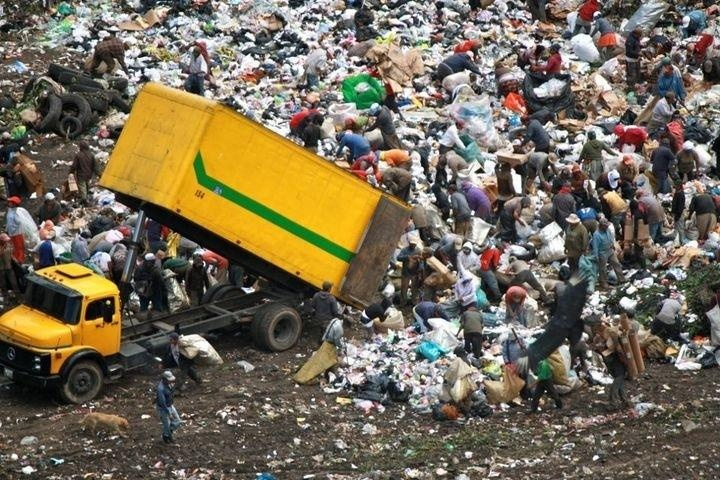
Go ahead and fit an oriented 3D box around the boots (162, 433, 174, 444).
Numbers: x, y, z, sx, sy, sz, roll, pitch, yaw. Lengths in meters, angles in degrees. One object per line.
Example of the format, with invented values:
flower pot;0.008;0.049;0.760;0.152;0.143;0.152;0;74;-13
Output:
boots;-3.638;3.739;17.517;0.226;0.211;0.107;2;27;-1

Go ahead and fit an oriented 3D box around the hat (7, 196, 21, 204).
hat;-8.432;-0.969;22.460;0.306;0.147;0.204;17;8;16

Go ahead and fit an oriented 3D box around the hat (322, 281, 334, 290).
hat;-0.711;0.969;20.101;0.194;0.143;0.193;-3;4;5

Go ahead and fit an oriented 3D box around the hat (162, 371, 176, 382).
hat;-3.582;2.535;17.278;0.201;0.286;0.238;5;21;-19
